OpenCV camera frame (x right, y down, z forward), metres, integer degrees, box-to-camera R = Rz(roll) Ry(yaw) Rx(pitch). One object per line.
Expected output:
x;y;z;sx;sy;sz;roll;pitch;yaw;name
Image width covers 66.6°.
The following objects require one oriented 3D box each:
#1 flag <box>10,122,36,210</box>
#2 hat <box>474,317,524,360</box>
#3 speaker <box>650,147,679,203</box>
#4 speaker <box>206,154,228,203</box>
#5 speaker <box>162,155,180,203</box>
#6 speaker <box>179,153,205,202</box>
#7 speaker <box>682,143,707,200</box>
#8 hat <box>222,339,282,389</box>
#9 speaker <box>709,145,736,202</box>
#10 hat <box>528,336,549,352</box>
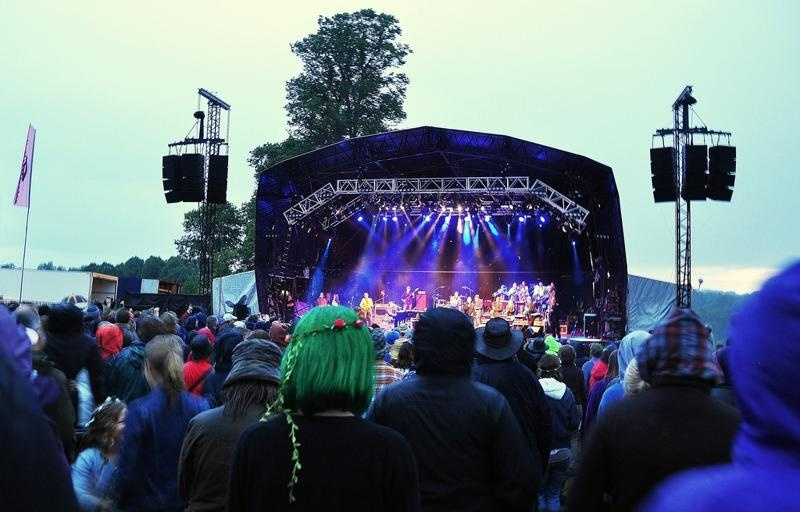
-12.026;-2.885;19.604;0.393;2.590;0.638;8;-8;-31;flag
0.784;0.638;4.900;0.339;0.144;0.371;-4;26;13;hat
6.072;-1.897;14.107;0.662;1.210;0.550;2;-7;10;speaker
-4.951;-2.100;16.453;0.509;1.306;0.455;6;-7;-19;speaker
-5.853;-1.956;15.538;0.512;1.199;0.430;2;-7;15;speaker
-5.318;-2.016;15.509;0.618;1.232;0.394;6;-7;-22;speaker
6.619;-1.847;13.670;0.489;1.255;0.391;1;-7;23;speaker
-0.916;0.666;3.819;0.263;0.208;0.386;2;-15;-6;hat
6.897;-1.804;13.126;0.529;1.356;0.941;0;-8;26;speaker
1.695;1.124;7.513;0.238;0.083;0.238;4;22;22;hat
